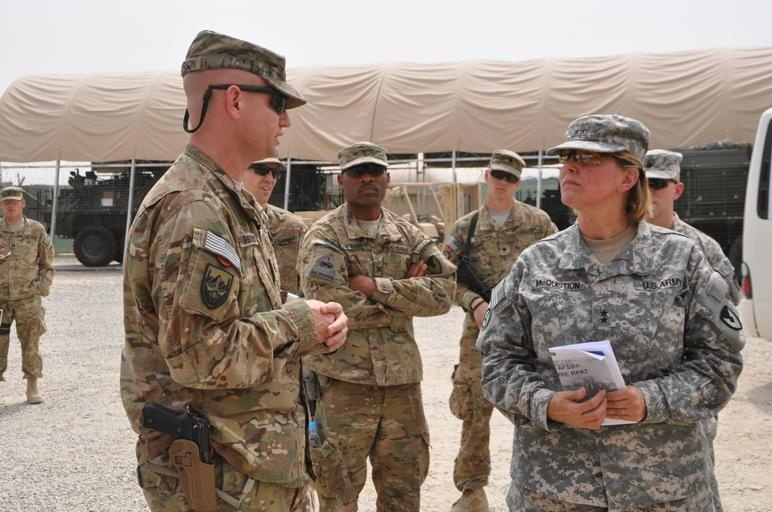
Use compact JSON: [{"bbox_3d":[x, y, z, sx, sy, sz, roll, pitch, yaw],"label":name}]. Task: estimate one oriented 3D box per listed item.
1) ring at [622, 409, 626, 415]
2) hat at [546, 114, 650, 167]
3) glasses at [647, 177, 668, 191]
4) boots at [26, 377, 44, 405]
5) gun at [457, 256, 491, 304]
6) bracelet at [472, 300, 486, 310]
[{"bbox_3d":[1.373,0.896,4.685,0.034,0.030,0.008,-1,-2,13],"label":"ring"},{"bbox_3d":[1.376,-0.720,5.021,0.457,0.129,0.324,3,0,-20],"label":"hat"},{"bbox_3d":[2.187,-0.580,6.524,0.161,0.066,0.160,2,36,10],"label":"glasses"},{"bbox_3d":[-4.014,1.522,9.244,0.176,0.262,0.368,-5,9,-24],"label":"boots"},{"bbox_3d":[0.787,0.225,7.507,0.107,0.424,0.259,-41,-18,-16],"label":"gun"},{"bbox_3d":[0.831,0.429,7.221,0.089,0.021,0.089,-26,3,17],"label":"bracelet"}]
